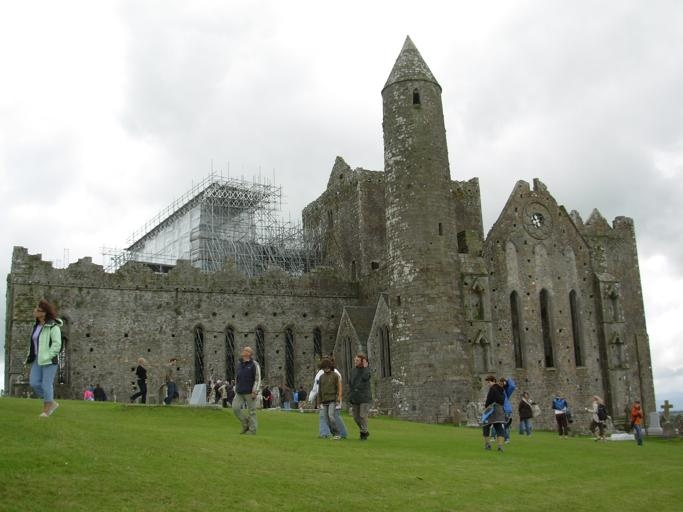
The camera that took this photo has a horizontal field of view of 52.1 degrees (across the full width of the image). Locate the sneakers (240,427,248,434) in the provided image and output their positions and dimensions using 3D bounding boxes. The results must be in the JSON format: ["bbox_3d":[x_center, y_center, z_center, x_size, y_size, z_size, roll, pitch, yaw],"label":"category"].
[{"bbox_3d":[-2.766,4.953,19.639,0.144,0.048,0.203,-5,20,40],"label":"sneakers"}]
